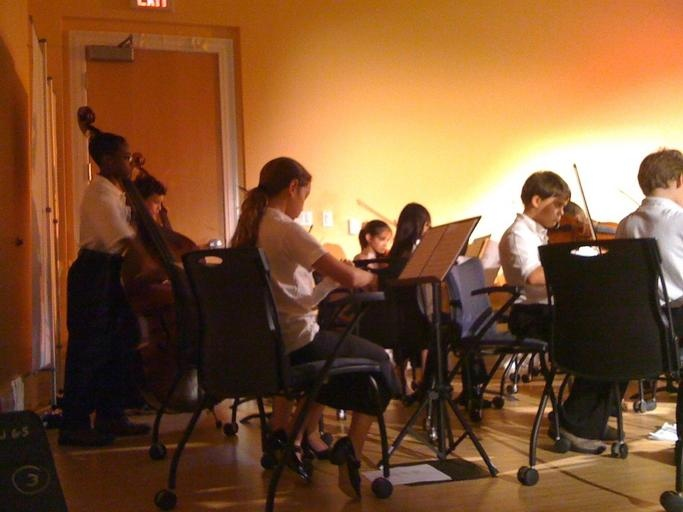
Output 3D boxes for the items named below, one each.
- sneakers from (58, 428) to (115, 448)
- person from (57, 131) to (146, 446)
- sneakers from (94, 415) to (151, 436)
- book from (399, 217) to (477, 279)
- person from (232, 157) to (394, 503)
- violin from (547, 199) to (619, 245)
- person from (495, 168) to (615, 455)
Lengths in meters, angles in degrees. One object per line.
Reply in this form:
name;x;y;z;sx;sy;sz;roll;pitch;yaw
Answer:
sneakers;-1.527;1.085;4.049;0.315;0.150;0.119;2;-5;-10
person;-1.376;0.203;3.963;0.496;1.835;0.368;3;0;-16
sneakers;-1.350;1.057;4.121;0.339;0.143;0.122;3;-5;-16
book;0.492;-0.038;3.552;0.461;0.048;0.460;-50;17;-29
person;-0.150;0.354;3.389;0.906;1.611;0.610;8;-8;-34
violin;2.396;-0.236;6.640;0.881;0.411;0.357;7;-7;-42
person;1.420;0.182;4.519;0.669;1.554;0.633;1;27;22
